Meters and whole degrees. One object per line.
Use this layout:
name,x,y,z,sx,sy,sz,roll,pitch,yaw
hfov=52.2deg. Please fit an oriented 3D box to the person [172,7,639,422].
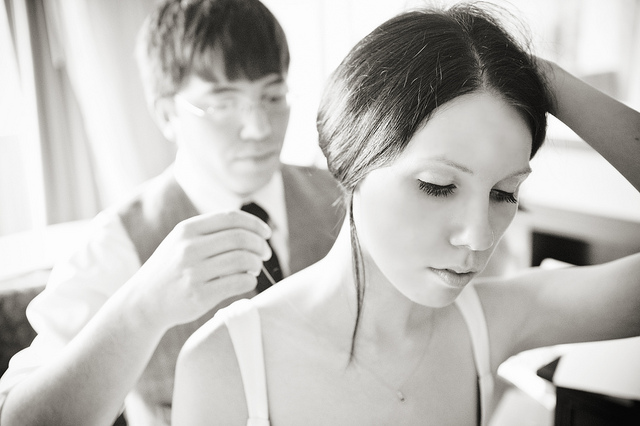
person,0.170,0.001,1.682,0.931,1.307,0.536,2,14,-21

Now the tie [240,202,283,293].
tie,-0.148,0.088,1.690,0.119,0.228,0.052,-7,2,-13
